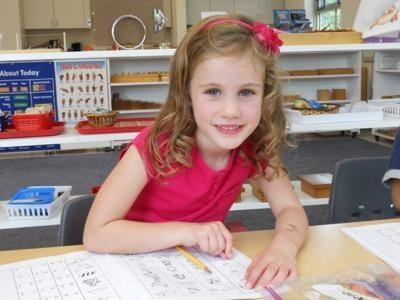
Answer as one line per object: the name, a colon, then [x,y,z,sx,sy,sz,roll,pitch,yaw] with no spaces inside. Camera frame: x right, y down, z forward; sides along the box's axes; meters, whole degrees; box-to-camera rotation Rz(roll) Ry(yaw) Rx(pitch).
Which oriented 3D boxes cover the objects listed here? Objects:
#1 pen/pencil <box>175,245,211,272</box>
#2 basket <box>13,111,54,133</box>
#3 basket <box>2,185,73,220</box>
pen/pencil: [-0.015,0.250,0.731,0.012,0.012,0.112,-19,23,-25]
basket: [-0.868,-0.147,1.680,0.195,0.085,0.299,-6,15,-23]
basket: [-0.814,0.248,1.665,0.161,0.077,0.256,0,4,0]
